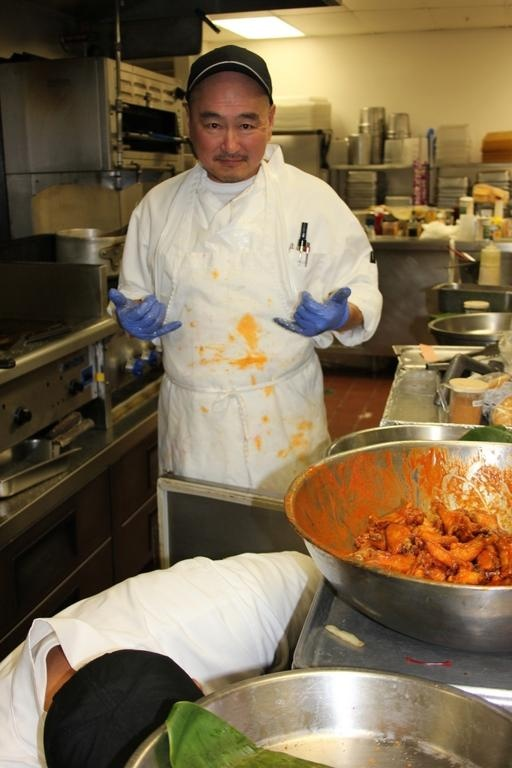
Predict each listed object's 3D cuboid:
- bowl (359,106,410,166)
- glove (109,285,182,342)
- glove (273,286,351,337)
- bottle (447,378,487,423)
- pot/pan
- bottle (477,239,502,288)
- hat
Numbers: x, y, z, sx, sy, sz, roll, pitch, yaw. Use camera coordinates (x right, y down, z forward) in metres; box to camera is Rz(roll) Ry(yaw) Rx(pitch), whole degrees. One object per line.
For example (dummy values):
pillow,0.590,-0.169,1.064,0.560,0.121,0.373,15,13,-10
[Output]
bowl,1.480,-2.591,6.601,0.693,0.628,0.419,3,10,14
glove,-0.279,-0.168,1.573,0.161,0.131,0.228,-4,16,-13
glove,0.139,-0.154,1.457,0.093,0.073,0.157,33,-7,-4
bottle,0.482,0.040,1.438,0.073,0.093,0.083,-4,17,-14
pot/pan,-0.701,-0.574,2.769,0.322,0.197,0.338,3,15,5
bottle,1.168,-0.595,3.133,0.095,0.188,0.254,6,17,18
hat,-0.063,-0.682,1.405,0.168,0.104,0.218,-2,-4,-10
